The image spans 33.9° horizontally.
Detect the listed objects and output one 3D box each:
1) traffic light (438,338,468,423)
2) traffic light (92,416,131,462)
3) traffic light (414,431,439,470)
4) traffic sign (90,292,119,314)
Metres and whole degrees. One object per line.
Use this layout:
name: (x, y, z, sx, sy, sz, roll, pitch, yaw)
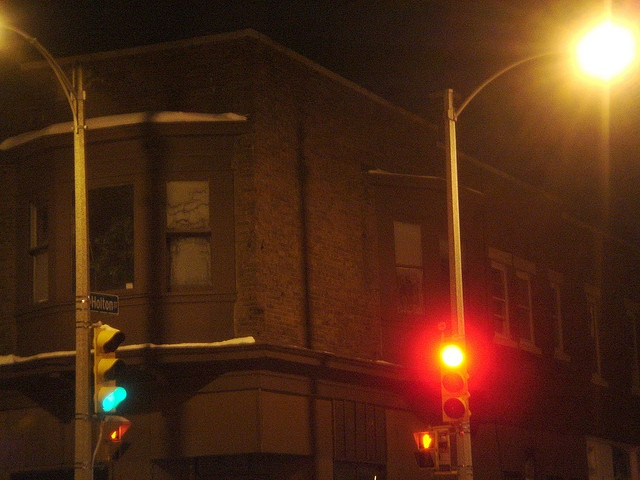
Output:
traffic light: (2.945, 3.150, 23.231, 0.579, 1.659, 0.711, -5, -26, 7)
traffic light: (-4.506, 4.303, 22.504, 0.835, 1.041, 0.656, 4, -8, 7)
traffic light: (2.370, 4.733, 23.693, 0.479, 0.894, 0.364, -3, -26, 3)
traffic sign: (-4.747, 1.340, 23.054, 0.225, 0.526, 0.799, -21, -32, 35)
